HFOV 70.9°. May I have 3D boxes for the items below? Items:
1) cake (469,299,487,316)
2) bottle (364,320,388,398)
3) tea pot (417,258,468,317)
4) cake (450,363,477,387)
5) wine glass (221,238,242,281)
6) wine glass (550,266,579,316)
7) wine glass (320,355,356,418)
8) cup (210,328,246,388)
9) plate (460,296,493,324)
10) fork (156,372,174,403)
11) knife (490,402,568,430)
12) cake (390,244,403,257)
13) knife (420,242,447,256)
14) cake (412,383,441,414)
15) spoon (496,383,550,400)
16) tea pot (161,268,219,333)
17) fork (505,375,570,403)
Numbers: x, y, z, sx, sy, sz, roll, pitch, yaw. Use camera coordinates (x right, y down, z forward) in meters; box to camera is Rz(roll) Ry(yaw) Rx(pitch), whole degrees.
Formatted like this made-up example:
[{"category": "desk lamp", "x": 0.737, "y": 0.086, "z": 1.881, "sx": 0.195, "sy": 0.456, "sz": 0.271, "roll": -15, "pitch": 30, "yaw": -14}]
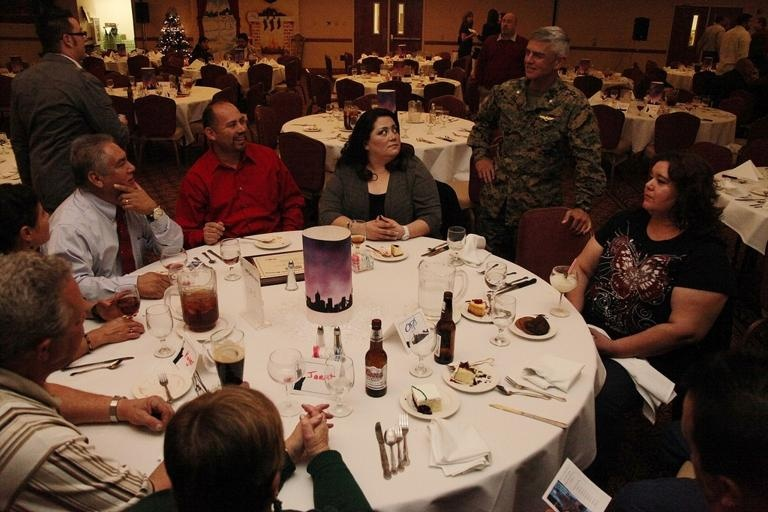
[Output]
[{"category": "cake", "x": 0.412, "y": 0.218, "z": 2.395, "sx": 0.065, "sy": 0.025, "sz": 0.066, "roll": 18, "pitch": 31, "yaw": 42}, {"category": "bottle", "x": -0.028, "y": 0.343, "z": 1.999, "sx": 0.085, "sy": 0.305, "sz": 0.173, "roll": 2, "pitch": 22, "yaw": 1}, {"category": "tea pot", "x": 0.239, "y": 0.120, "z": 2.481, "sx": 0.269, "sy": 0.285, "sz": 0.175, "roll": 0, "pitch": 25, "yaw": -4}, {"category": "cake", "x": 0.303, "y": 0.439, "z": 2.044, "sx": 0.077, "sy": 0.055, "sz": 0.077, "roll": 8, "pitch": 6, "yaw": 8}, {"category": "wine glass", "x": -0.759, "y": 0.017, "z": 2.651, "sx": 0.089, "sy": 0.178, "sz": 0.089, "roll": -9, "pitch": 23, "yaw": -27}, {"category": "wine glass", "x": 0.842, "y": 0.151, "z": 2.535, "sx": 0.129, "sy": 0.218, "sz": 0.124, "roll": -11, "pitch": 22, "yaw": -39}, {"category": "wine glass", "x": -0.163, "y": 0.460, "z": 1.923, "sx": 0.112, "sy": 0.197, "sz": 0.114, "roll": 3, "pitch": 8, "yaw": 39}, {"category": "cup", "x": -0.571, "y": 0.407, "z": 1.984, "sx": 0.133, "sy": 0.223, "sz": 0.133, "roll": -1, "pitch": -1, "yaw": 0}, {"category": "plate", "x": 0.403, "y": 0.244, "z": 2.398, "sx": 0.104, "sy": 0.036, "sz": 0.106, "roll": 16, "pitch": 23, "yaw": 41}, {"category": "fork", "x": -0.806, "y": 0.478, "z": 1.964, "sx": 0.034, "sy": 0.029, "sz": 0.210, "roll": -14, "pitch": 49, "yaw": -17}, {"category": "knife", "x": 0.515, "y": 0.574, "z": 1.927, "sx": 0.191, "sy": 0.010, "sz": 0.026, "roll": 16, "pitch": 55, "yaw": 15}, {"category": "cake", "x": 0.057, "y": -0.036, "z": 2.876, "sx": 0.069, "sy": 0.071, "sz": 0.060, "roll": -6, "pitch": 9, "yaw": -18}, {"category": "knife", "x": 0.267, "y": -0.042, "z": 2.942, "sx": 0.124, "sy": 0.037, "sz": 0.029, "roll": -28, "pitch": 25, "yaw": -35}, {"category": "cake", "x": 0.152, "y": 0.504, "z": 1.916, "sx": 0.088, "sy": 0.057, "sz": 0.090, "roll": -3, "pitch": 22, "yaw": -13}, {"category": "spoon", "x": 0.522, "y": 0.508, "z": 2.019, "sx": 0.153, "sy": 0.022, "sz": 0.027, "roll": 7, "pitch": 52, "yaw": 13}, {"category": "tea pot", "x": -0.823, "y": 0.188, "z": 2.312, "sx": 0.237, "sy": 0.268, "sz": 0.159, "roll": -11, "pitch": 14, "yaw": -13}, {"category": "fork", "x": 0.566, "y": 0.502, "z": 2.049, "sx": 0.257, "sy": 0.039, "sz": 0.077, "roll": 11, "pitch": 56, "yaw": 15}]
